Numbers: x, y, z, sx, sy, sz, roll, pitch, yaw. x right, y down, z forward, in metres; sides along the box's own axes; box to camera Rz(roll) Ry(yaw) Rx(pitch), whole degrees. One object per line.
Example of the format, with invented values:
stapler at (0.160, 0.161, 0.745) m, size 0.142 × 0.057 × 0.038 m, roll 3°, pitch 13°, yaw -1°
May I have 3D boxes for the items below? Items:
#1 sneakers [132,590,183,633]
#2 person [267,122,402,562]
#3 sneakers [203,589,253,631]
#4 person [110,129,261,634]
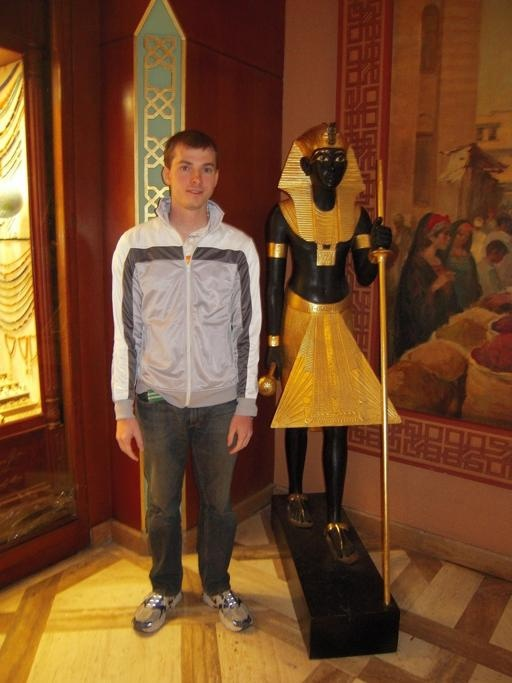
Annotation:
sneakers at (-0.331, 0.899, 2.135) m, size 0.067 × 0.080 × 0.186 m, roll 5°, pitch -1°, yaw 17°
person at (0.264, -0.009, 2.276) m, size 0.496 × 1.486 × 0.488 m, roll 3°, pitch 12°, yaw 10°
sneakers at (-0.086, 0.890, 2.107) m, size 0.079 × 0.079 × 0.173 m, roll 0°, pitch 4°, yaw -33°
person at (-0.212, 0.258, 2.005) m, size 0.444 × 1.384 × 0.221 m, roll -1°, pitch 12°, yaw -8°
